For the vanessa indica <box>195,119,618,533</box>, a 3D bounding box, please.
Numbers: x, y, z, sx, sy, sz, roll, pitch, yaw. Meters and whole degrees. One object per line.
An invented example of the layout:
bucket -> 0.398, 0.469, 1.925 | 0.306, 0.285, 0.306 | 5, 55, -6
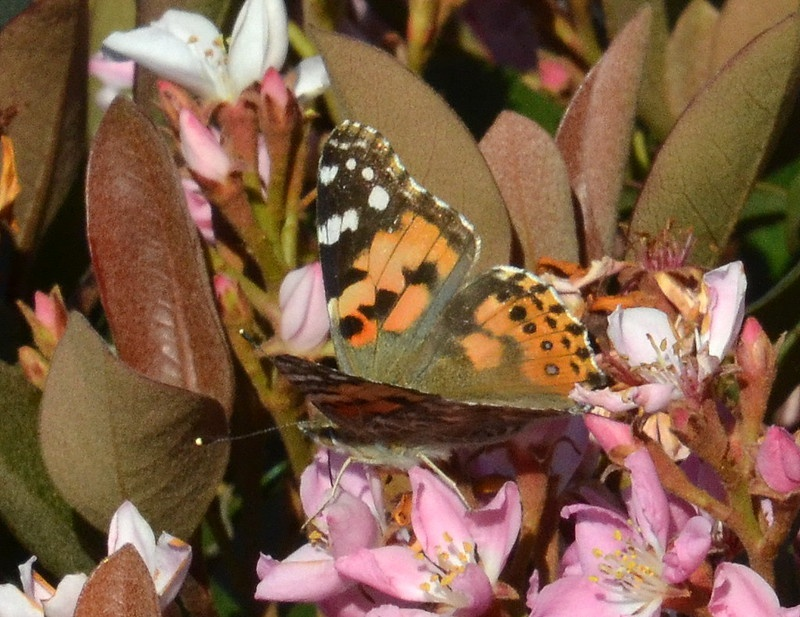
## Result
vanessa indica -> 0.028, 0.065, 1.802 | 0.395, 0.566, 0.352 | 4, 75, -21
